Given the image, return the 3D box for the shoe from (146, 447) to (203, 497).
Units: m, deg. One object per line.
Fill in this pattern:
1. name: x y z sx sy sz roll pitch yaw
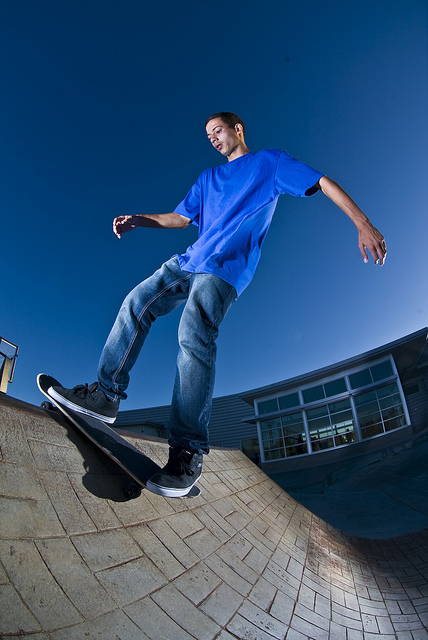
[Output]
1. shoe: -0.157 0.730 1.873 0.149 0.210 0.469 -3 -11 20

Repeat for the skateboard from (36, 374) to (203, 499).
1. skateboard: -0.556 0.542 1.977 0.818 0.492 0.413 -7 -20 31

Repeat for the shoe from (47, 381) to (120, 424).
1. shoe: -0.698 0.432 2.132 0.433 0.206 0.143 34 -29 -32
